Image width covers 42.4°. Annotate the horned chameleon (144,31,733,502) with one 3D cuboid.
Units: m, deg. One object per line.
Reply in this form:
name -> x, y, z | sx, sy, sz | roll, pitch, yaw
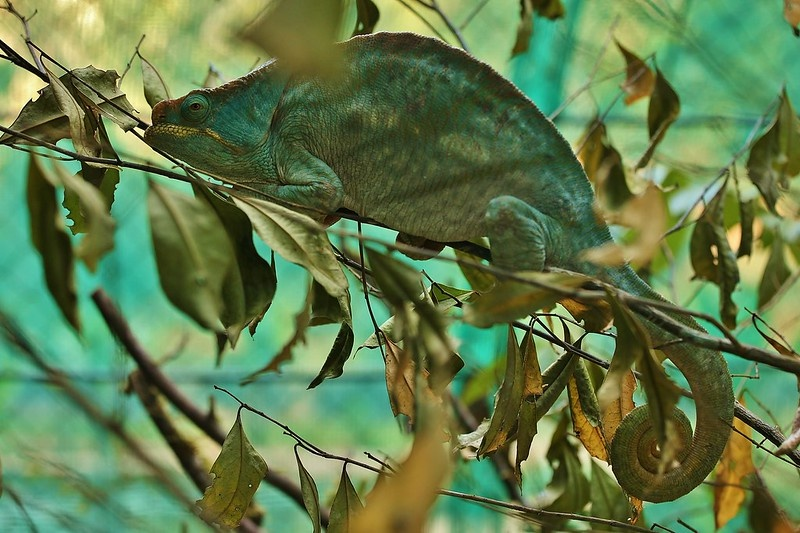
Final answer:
horned chameleon -> 0.158, -0.131, 2.239 | 1.578, 0.551, 0.802 | 25, 22, 17
